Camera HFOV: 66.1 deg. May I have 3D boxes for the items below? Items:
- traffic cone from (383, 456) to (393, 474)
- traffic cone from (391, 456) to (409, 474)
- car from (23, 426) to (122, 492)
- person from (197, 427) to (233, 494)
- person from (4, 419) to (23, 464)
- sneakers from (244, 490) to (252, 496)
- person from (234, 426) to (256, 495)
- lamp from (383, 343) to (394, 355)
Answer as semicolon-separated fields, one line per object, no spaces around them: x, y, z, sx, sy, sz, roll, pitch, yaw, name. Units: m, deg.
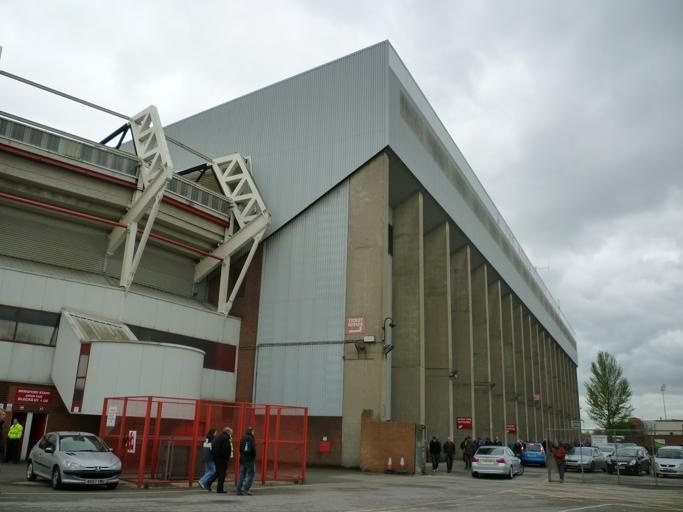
2.479;11.264;28.138;0.518;0.663;0.562;-1;-19;6;traffic cone
3.050;11.188;28.024;0.930;0.868;0.319;-3;-19;6;traffic cone
-9.310;7.091;18.316;3.359;1.844;1.613;-13;-23;27;car
-4.294;7.085;18.283;0.866;2.153;1.399;4;-20;-14;person
-14.678;8.306;23.516;0.506;1.704;1.970;10;-24;-30;person
-3.132;8.022;17.712;0.206;0.134;0.513;2;-22;-8;sneakers
-3.265;7.040;18.051;0.527;2.149;0.857;3;-20;-11;person
2.604;5.591;31.199;0.649;0.344;0.864;-8;-11;-33;lamp
